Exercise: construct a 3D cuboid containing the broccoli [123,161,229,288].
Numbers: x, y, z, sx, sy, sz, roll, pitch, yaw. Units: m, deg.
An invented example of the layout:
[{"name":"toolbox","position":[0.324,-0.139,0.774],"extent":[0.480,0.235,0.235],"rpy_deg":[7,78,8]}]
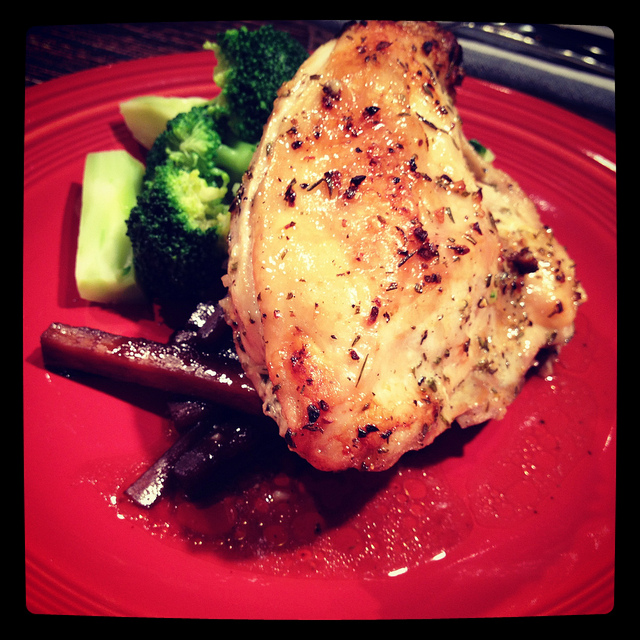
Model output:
[{"name":"broccoli","position":[-0.525,-0.272,2.667],"extent":[0.378,0.188,0.437],"rpy_deg":[22,79,-10]}]
